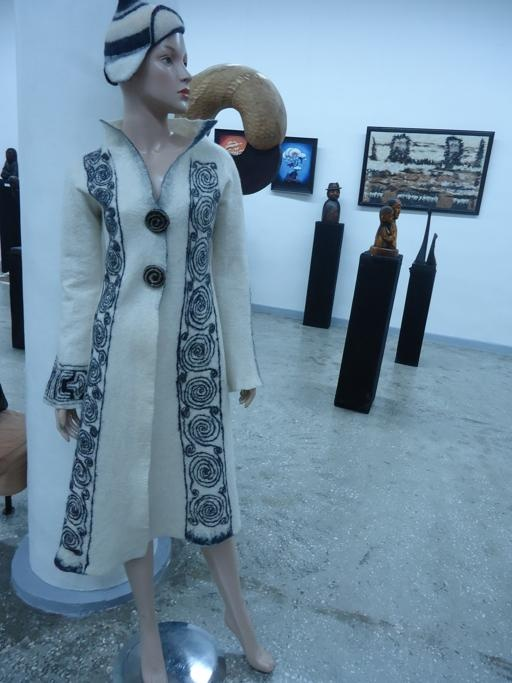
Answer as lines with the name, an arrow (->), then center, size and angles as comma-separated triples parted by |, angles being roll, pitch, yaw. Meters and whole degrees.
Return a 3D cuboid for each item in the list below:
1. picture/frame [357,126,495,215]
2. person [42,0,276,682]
picture/frame -> 1.981, -1.942, 5.763 | 1.650, 1.043, 0.066 | 8, 27, 15
person -> -0.231, 0.116, 1.367 | 0.605, 1.790, 0.279 | 6, 15, 3
